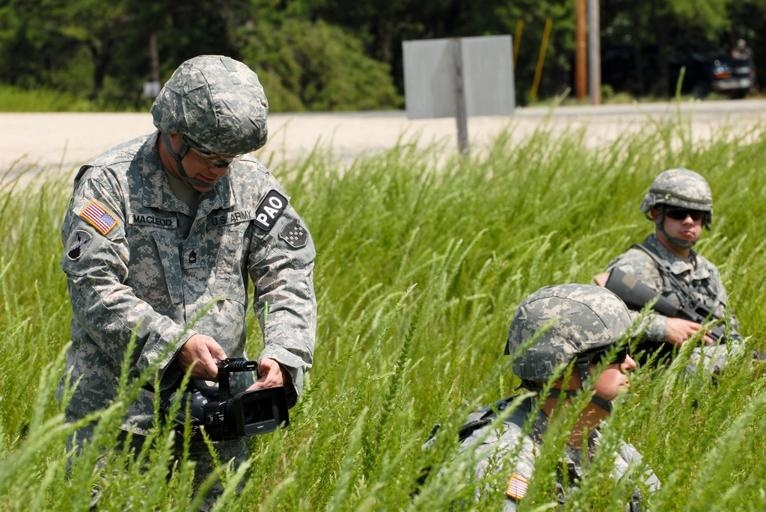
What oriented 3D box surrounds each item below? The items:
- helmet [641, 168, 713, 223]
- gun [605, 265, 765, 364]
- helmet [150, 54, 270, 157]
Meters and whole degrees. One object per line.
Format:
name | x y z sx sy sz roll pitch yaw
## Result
helmet | 2.147 -0.457 9.315 0.383 0.344 0.416 13 -3 -13
gun | 2.008 0.398 8.597 0.885 0.340 0.150 30 -17 10
helmet | -1.020 -0.899 7.837 0.621 0.522 0.583 28 32 29
